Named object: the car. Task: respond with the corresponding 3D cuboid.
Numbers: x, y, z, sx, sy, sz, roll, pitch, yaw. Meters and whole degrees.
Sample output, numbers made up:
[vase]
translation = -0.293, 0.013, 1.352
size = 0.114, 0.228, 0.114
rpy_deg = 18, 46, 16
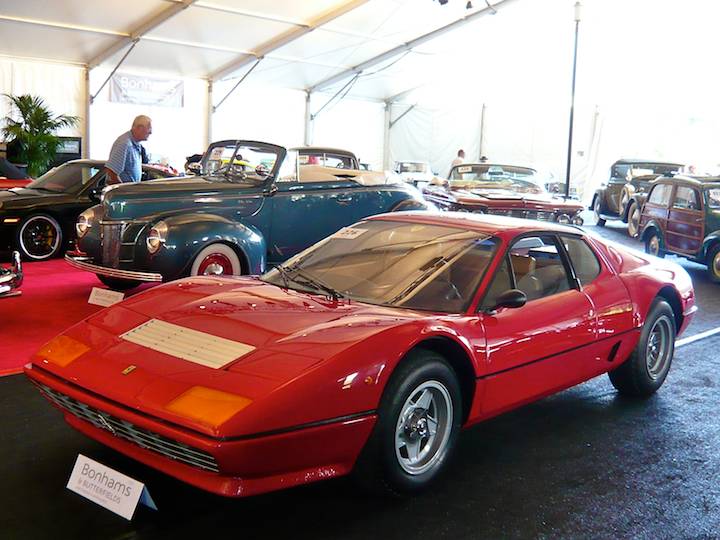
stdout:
[car]
translation = 0.429, 0.215, 2.816
size = 3.730, 0.900, 1.873
rpy_deg = -5, 9, -38
